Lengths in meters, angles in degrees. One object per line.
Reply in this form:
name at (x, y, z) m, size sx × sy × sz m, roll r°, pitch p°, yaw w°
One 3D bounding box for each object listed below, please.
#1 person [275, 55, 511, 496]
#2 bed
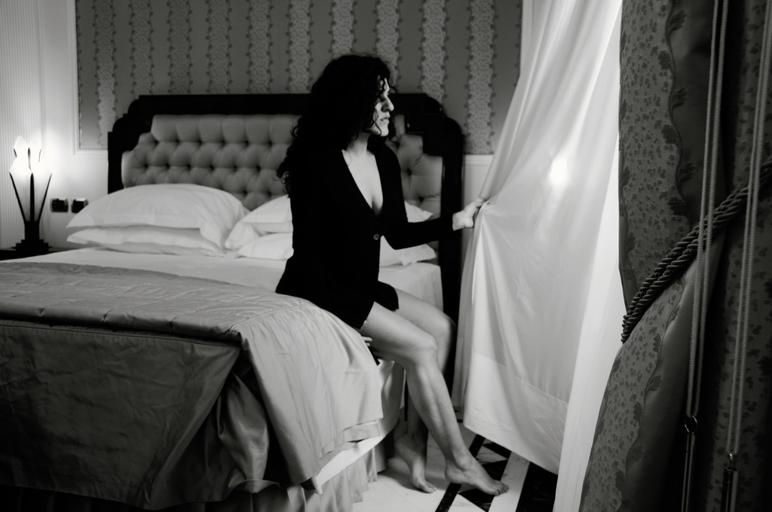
person at (-0.030, 0.060, 2.645) m, size 0.878 × 1.615 × 0.718 m, roll 6°, pitch 20°, yaw 9°
bed at (-0.624, -0.288, 3.022) m, size 1.694 × 1.562 × 1.953 m, roll 4°, pitch 8°, yaw 21°
